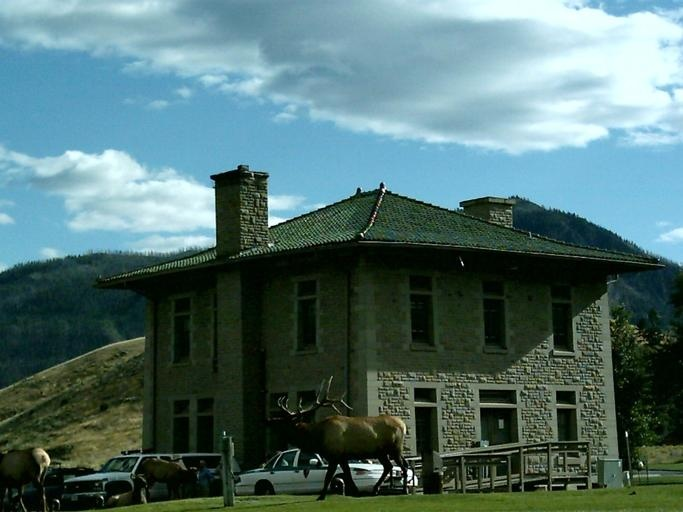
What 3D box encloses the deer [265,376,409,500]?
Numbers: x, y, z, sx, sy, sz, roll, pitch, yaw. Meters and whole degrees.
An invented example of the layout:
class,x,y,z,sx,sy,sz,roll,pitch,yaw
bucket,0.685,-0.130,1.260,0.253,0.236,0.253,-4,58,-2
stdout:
class,x,y,z,sx,sy,sz,roll,pitch,yaw
deer,0.065,9.006,72.673,6.543,5.486,2.931,1,-5,-9
